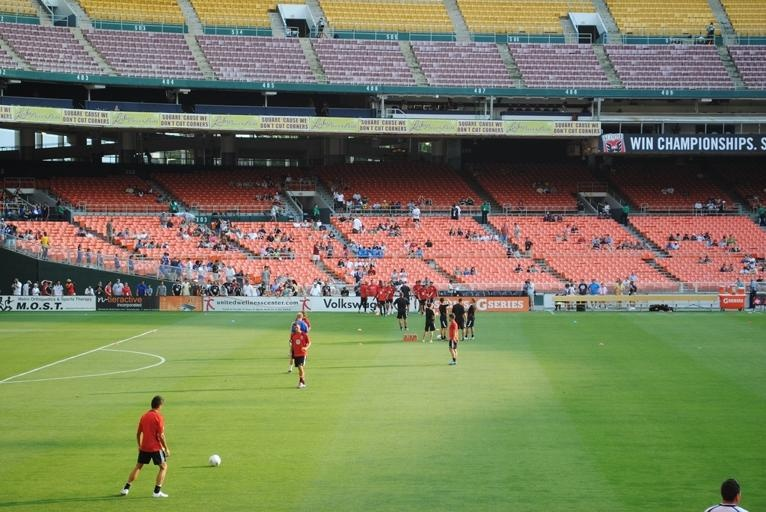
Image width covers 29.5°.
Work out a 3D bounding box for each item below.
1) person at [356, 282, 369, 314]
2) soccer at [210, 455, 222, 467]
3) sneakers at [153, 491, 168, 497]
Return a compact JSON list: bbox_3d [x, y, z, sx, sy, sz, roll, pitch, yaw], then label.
[{"bbox_3d":[-1.392,2.732,99.266,0.731,2.097,1.453,-3,-2,-1],"label":"person"},{"bbox_3d":[-7.863,9.696,68.562,0.555,0.495,0.537,19,-24,-36],"label":"soccer"},{"bbox_3d":[-10.300,11.070,67.197,0.569,0.217,0.266,0,-3,-2],"label":"sneakers"}]
